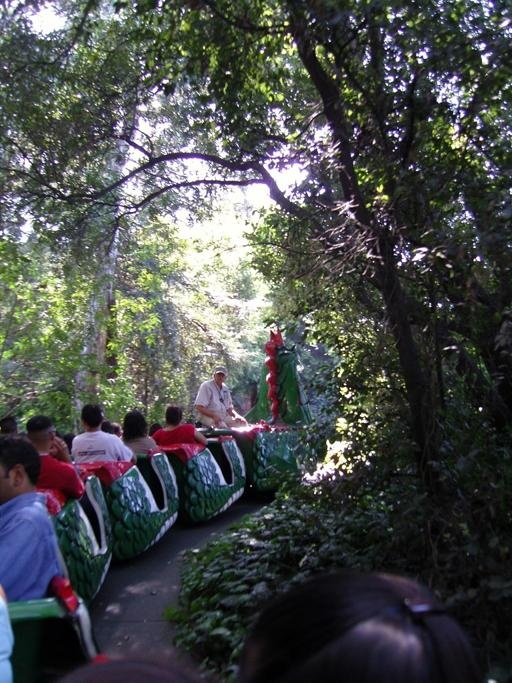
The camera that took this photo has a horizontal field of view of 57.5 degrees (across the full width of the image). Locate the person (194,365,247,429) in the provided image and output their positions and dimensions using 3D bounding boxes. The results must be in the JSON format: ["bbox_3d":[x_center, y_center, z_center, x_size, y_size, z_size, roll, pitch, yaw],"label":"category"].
[{"bbox_3d":[-0.684,1.111,9.109,0.955,1.206,0.885,4,-1,31],"label":"person"}]
